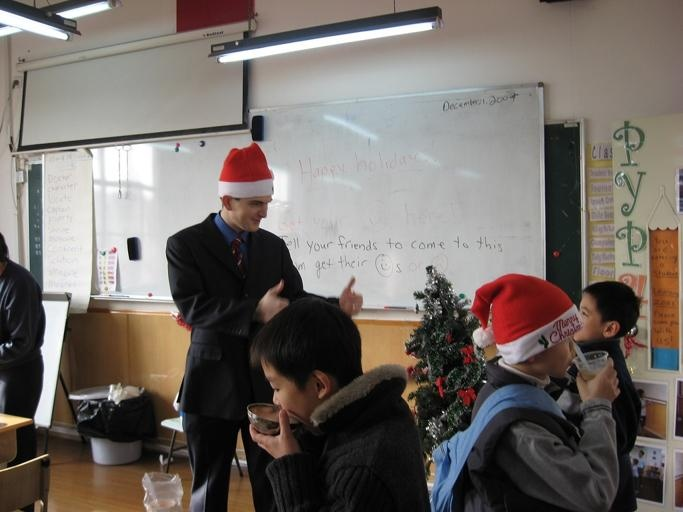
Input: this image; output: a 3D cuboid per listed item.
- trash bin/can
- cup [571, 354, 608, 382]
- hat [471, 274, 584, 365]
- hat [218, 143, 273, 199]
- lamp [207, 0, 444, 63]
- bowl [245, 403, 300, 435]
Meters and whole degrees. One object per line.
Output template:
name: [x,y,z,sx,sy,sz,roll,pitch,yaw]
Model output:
trash bin/can: [-1.805,1.285,4.519,0.538,0.538,0.567,-5,-4,23]
cup: [0.890,0.391,2.045,0.090,0.076,0.098,-16,-5,-1]
hat: [0.618,0.204,1.924,0.336,0.312,0.271,-11,4,26]
hat: [-0.459,-0.393,2.811,0.241,0.281,0.246,-4,0,0]
lamp: [-0.137,-1.367,3.527,1.526,0.130,0.160,-1,-2,24]
bowl: [-0.215,0.500,1.739,0.078,0.035,0.086,-3,37,2]
